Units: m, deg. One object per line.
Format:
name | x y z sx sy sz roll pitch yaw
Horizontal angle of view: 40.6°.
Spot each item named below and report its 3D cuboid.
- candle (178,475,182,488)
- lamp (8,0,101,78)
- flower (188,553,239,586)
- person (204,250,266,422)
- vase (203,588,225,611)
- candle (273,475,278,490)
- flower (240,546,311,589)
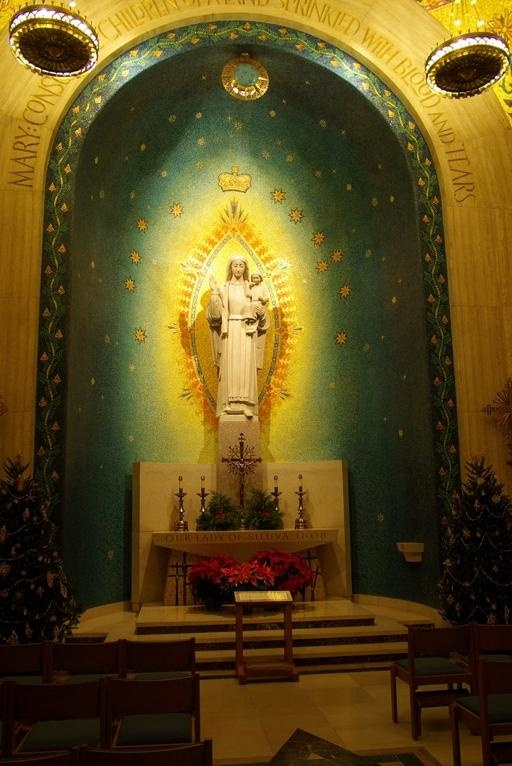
candle | -1.029 1.310 9.133 0.060 0.149 0.101 0 -10 -2
lamp | -1.752 -2.982 6.021 0.743 0.188 0.718 6 -26 -19
flower | -0.458 2.032 7.449 0.421 0.291 0.703 7 -12 -34
person | -0.294 -0.647 9.680 0.837 2.351 0.366 0 -11 0
vase | -0.481 2.379 7.570 0.287 0.203 0.261 2 -7 1
candle | 0.248 1.339 9.435 0.063 0.163 0.057 -6 -12 28
flower | 0.209 1.988 7.359 0.498 0.205 0.486 7 -7 -35
